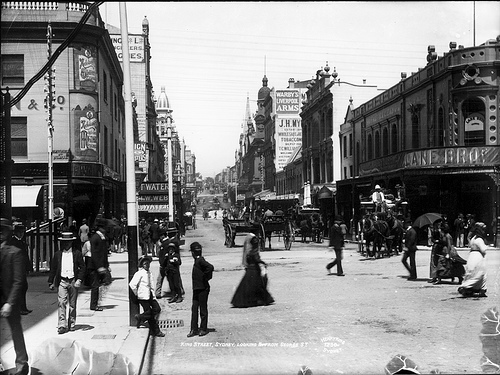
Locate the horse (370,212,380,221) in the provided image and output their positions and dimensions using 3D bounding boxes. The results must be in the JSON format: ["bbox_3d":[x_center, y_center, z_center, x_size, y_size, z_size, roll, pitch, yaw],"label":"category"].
[{"bbox_3d":[6.351,1.471,42.355,0.421,0.447,0.445,-3,1,37],"label":"horse"}]

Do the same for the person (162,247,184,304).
[{"bbox_3d":[-2.937,3.160,30.499,0.840,2.088,0.658,-3,-3,11],"label":"person"}]

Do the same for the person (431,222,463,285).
[{"bbox_3d":[7.864,2.609,32.673,1.415,2.380,0.764,1,1,-7],"label":"person"}]

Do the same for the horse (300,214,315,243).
[{"bbox_3d":[3.816,2.741,55.513,0.944,2.276,2.485,0,7,2],"label":"horse"}]

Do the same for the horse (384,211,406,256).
[{"bbox_3d":[7.536,2.131,42.853,0.945,2.844,1.172,0,3,3],"label":"horse"}]

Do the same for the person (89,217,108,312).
[{"bbox_3d":[-5.403,2.740,29.096,0.745,3.201,1.156,2,-8,-9],"label":"person"}]

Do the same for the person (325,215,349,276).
[{"bbox_3d":[3.744,2.472,35.227,0.887,2.558,1.057,3,-10,-27],"label":"person"}]

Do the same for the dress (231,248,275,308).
[{"bbox_3d":[0.037,3.220,29.123,1.384,1.955,0.646,-1,7,-1],"label":"dress"}]
